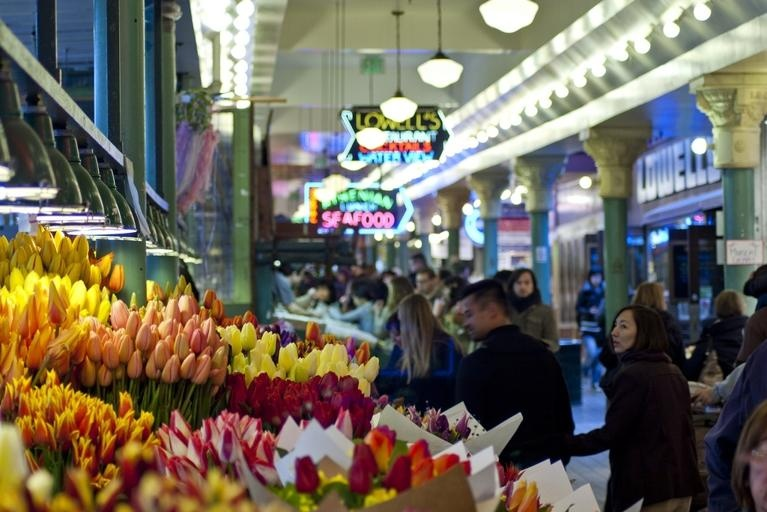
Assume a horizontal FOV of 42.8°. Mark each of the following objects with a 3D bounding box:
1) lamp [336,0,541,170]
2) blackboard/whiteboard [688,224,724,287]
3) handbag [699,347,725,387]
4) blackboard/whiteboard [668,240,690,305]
[{"bbox_3d":[0.856,-2.486,14.041,2.065,2.493,0.671,-1,7,2],"label":"lamp"},{"bbox_3d":[3.886,0.145,11.751,0.394,1.113,0.110,-3,23,9],"label":"blackboard/whiteboard"},{"bbox_3d":[2.660,0.916,7.958,0.078,0.290,0.238,13,18,-11],"label":"handbag"},{"bbox_3d":[3.619,0.204,11.892,0.342,0.704,0.069,1,-3,-21],"label":"blackboard/whiteboard"}]
